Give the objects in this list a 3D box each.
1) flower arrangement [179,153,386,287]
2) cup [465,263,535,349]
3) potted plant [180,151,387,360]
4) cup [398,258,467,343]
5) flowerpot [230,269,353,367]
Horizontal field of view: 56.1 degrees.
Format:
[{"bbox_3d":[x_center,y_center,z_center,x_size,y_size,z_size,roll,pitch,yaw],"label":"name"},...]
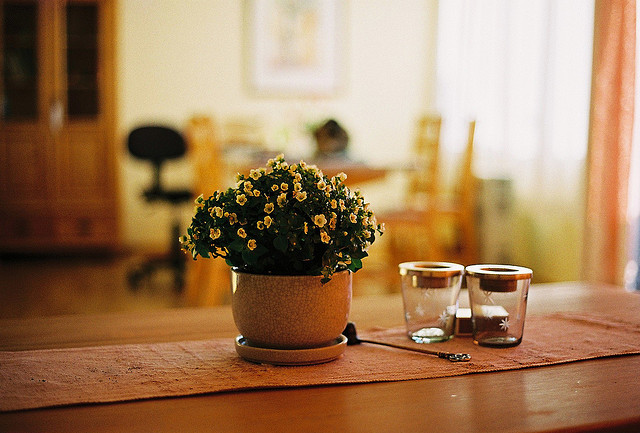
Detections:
[{"bbox_3d":[-0.080,0.026,1.181,0.344,0.224,0.275,1,-25,-5],"label":"flower arrangement"},{"bbox_3d":[0.368,0.181,1.290,0.158,0.167,0.159,3,1,0],"label":"cup"},{"bbox_3d":[-0.083,0.075,1.219,0.373,0.359,0.289,-7,11,-5],"label":"potted plant"},{"bbox_3d":[0.238,0.178,1.288,0.148,0.152,0.146,-1,3,0],"label":"cup"},{"bbox_3d":[-0.051,0.192,1.191,0.191,0.134,0.190,0,-2,16],"label":"flowerpot"}]
